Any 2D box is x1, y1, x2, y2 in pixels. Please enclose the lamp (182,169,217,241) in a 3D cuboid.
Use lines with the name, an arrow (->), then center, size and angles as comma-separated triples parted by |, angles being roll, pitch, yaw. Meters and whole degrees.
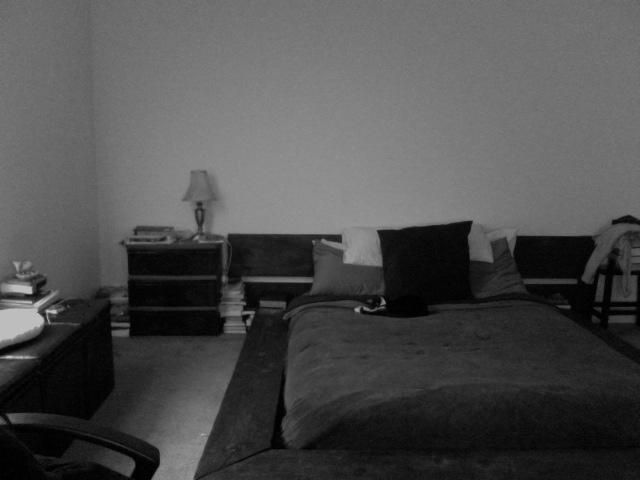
lamp -> -0.799, -0.234, 3.614 | 0.227, 0.482, 0.255 | -3, 2, -13

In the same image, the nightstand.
nightstand -> -0.867, 0.355, 3.657 | 0.682, 0.626, 0.490 | -2, -1, 21
